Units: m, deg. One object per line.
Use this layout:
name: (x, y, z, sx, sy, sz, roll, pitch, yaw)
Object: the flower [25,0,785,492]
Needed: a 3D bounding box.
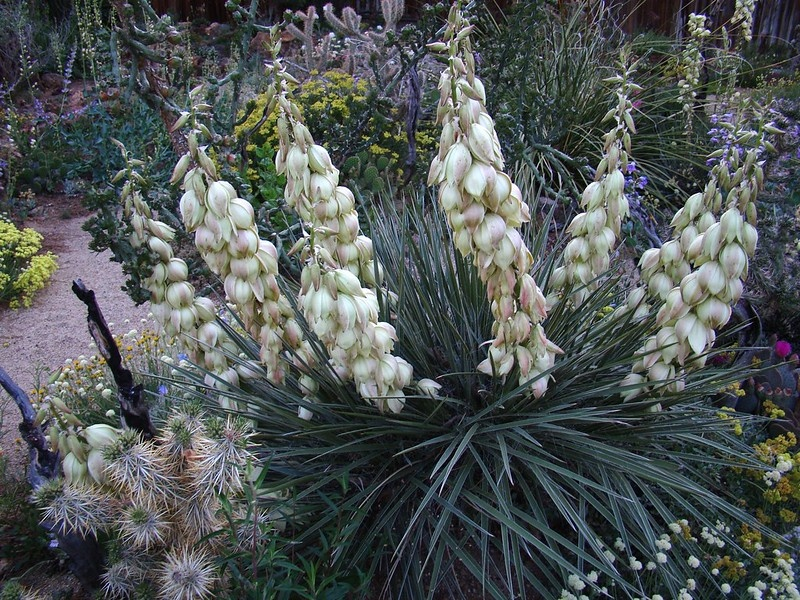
flower: (0.211, -0.101, 1.957, 1.859, 1.515, 0.977, 2, 32, 7)
